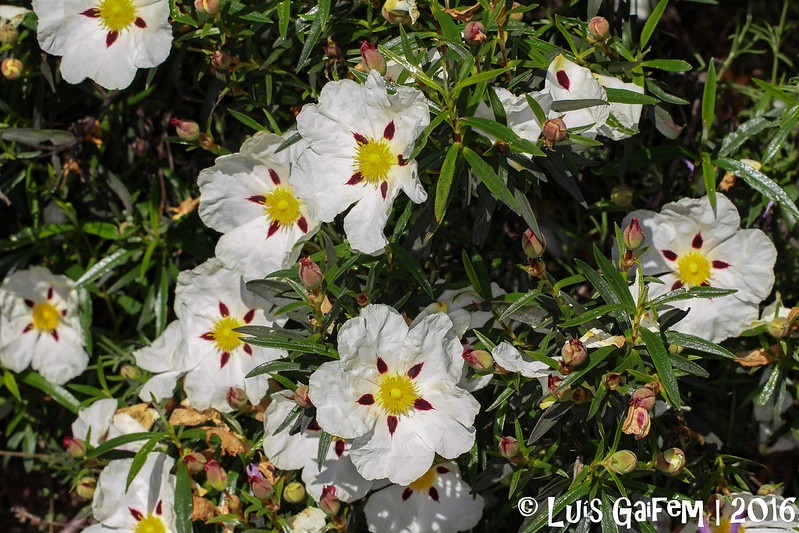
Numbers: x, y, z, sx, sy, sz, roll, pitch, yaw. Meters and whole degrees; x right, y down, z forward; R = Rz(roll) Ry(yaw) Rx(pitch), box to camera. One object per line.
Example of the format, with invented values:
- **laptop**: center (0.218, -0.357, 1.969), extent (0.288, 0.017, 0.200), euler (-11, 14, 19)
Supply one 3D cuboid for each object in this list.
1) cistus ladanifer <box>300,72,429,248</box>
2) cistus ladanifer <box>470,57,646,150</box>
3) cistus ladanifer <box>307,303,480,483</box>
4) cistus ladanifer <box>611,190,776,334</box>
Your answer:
- **cistus ladanifer**: center (-0.155, -0.408, 2.836), extent (0.555, 0.299, 0.592), euler (9, 69, 21)
- **cistus ladanifer**: center (0.675, -0.652, 3.014), extent (0.587, 0.230, 0.429), euler (-13, 78, -36)
- **cistus ladanifer**: center (0.020, 0.561, 2.983), extent (0.616, 0.737, 0.579), euler (-28, 60, 2)
- **cistus ladanifer**: center (1.349, 0.007, 3.177), extent (0.555, 0.386, 0.571), euler (-14, 62, 10)
